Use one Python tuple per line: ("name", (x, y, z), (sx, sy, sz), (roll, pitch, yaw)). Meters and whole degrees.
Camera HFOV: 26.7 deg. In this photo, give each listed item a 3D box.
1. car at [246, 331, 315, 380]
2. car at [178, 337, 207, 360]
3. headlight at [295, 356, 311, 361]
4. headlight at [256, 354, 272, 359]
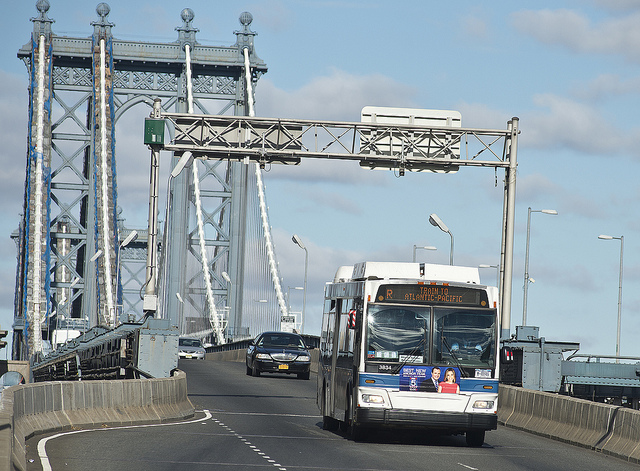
("car", (-1.664, 4.643, 52.702), (2.304, 1.873, 5.206), (4, -5, -5))
("car", (-6.518, 5.717, 68.648), (1.434, 1.094, 3.208), (1, -6, -7))
("headlight", (-0.608, 4.563, 50.495), (0.120, 0.166, 0.810), (2, -1, 34))
("headlight", (-2.137, 4.468, 50.560), (0.803, 0.166, 0.134), (1, -1, 45))
